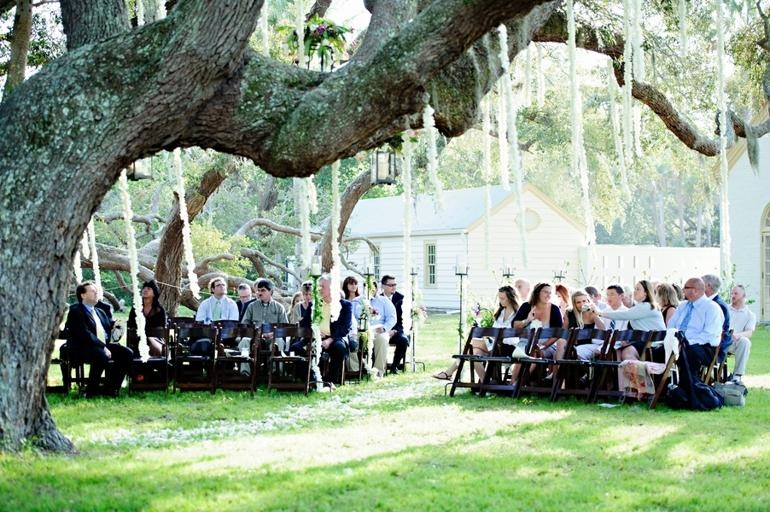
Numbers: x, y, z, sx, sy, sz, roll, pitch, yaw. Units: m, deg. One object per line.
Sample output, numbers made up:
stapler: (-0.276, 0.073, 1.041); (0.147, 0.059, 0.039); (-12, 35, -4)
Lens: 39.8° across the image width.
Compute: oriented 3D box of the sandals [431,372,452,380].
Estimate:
sandals: (0.969, 2.013, 17.961); (0.293, 0.087, 0.119); (15, -22, -38)

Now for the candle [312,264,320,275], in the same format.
candle: (-1.108, 0.230, 17.029); (0.152, 0.179, 0.154); (2, -3, -5)

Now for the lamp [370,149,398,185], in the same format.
lamp: (-0.053, -1.621, 19.747); (0.540, 0.794, 0.547); (0, 0, -4)
